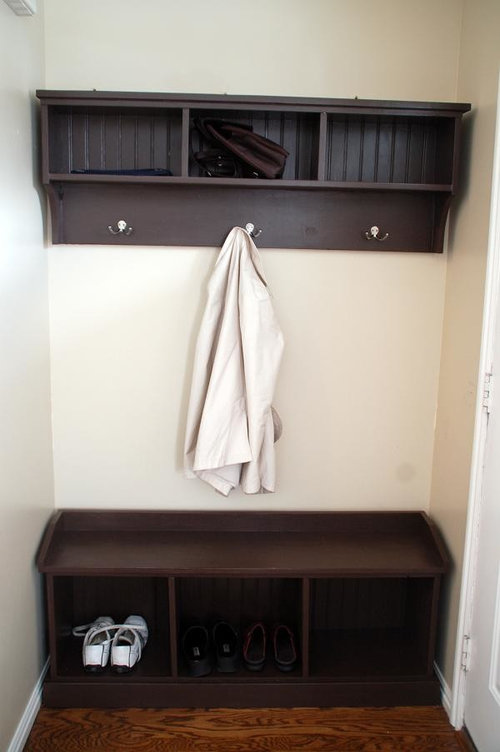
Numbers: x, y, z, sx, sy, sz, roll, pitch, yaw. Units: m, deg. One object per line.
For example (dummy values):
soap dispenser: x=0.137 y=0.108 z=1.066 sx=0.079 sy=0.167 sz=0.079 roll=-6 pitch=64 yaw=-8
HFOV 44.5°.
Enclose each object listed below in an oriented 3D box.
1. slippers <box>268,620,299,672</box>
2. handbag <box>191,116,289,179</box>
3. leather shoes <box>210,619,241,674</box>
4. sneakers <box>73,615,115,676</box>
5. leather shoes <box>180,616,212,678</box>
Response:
slippers: x=0.116 y=0.927 z=2.128 sx=0.074 sy=0.093 sz=0.252 roll=2 pitch=2 yaw=-4
handbag: x=-0.034 y=-0.726 z=1.919 sx=0.249 sy=0.093 sz=0.201 roll=29 pitch=18 yaw=12
leather shoes: x=-0.085 y=0.897 z=2.088 sx=0.072 sy=0.102 sz=0.245 roll=-1 pitch=11 yaw=-8
sneakers: x=-0.527 y=0.914 z=2.093 sx=0.092 sy=0.064 sz=0.176 roll=-1 pitch=16 yaw=-6
leather shoes: x=-0.179 y=0.905 z=2.063 sx=0.082 sy=0.095 sz=0.261 roll=-7 pitch=5 yaw=-7
